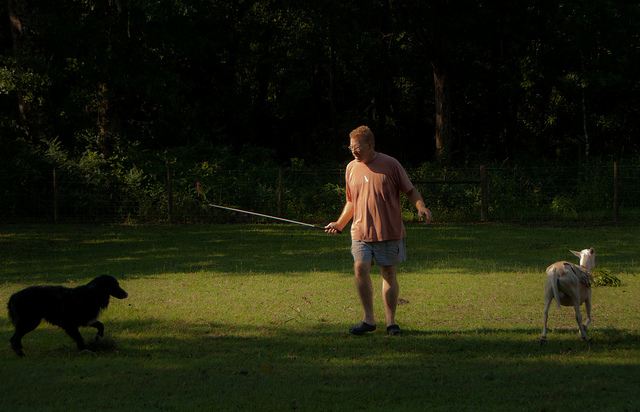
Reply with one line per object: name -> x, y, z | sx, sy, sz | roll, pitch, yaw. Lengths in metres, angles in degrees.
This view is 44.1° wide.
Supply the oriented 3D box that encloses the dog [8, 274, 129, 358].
dog -> -6.134, 2.900, 19.351 | 3.740, 2.244, 1.762 | -1, -3, 37
